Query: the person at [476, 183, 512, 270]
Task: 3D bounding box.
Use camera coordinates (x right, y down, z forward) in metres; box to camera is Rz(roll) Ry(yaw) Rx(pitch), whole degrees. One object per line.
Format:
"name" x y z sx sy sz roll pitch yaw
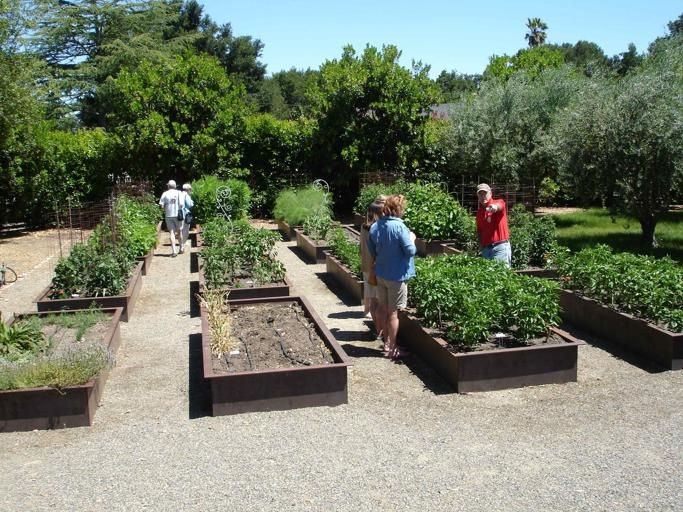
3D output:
"person" 2.587 -0.500 8.839 0.590 1.411 0.893 3 14 17

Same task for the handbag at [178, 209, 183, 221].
"handbag" -4.474 -1.132 14.389 0.150 0.351 0.229 -6 14 -22

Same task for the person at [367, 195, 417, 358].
"person" 0.740 0.322 7.424 0.428 2.328 0.717 -12 17 -39

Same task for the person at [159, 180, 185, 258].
"person" -4.765 -1.111 14.697 0.593 2.069 1.258 -5 14 -19
